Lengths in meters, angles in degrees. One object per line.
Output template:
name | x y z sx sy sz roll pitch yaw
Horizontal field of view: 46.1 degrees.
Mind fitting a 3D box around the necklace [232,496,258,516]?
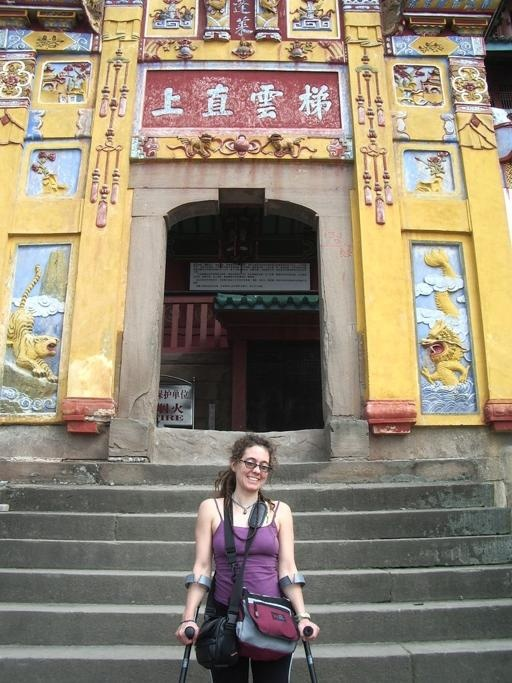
necklace | -0.044 0.610 2.225 0.070 0.045 0.025 3 -13 0

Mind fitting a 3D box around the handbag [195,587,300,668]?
handbag | -0.018 0.925 1.989 0.330 0.292 0.208 -28 -36 21
